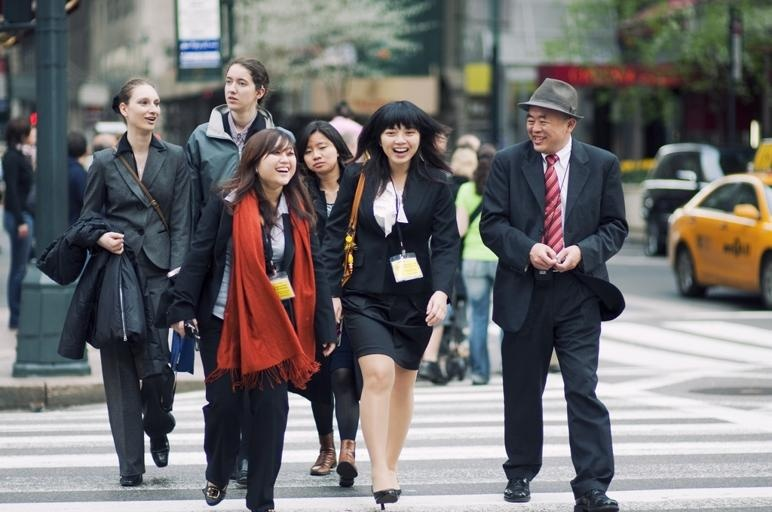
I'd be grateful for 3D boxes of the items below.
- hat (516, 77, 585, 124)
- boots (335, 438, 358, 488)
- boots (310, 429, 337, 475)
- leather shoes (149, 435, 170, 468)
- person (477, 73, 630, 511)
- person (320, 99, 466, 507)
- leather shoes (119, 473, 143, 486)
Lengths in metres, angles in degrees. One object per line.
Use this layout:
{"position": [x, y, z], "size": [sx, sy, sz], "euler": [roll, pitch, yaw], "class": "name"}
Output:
{"position": [1.734, -1.585, 15.842], "size": [0.524, 0.211, 0.444], "euler": [25, 1, 20], "class": "hat"}
{"position": [-0.379, 2.066, 16.271], "size": [0.152, 0.303, 0.357], "euler": [17, -32, -13], "class": "boots"}
{"position": [-0.661, 2.140, 16.641], "size": [0.171, 0.403, 0.494], "euler": [-2, 7, 21], "class": "boots"}
{"position": [-2.398, 2.091, 16.495], "size": [0.141, 0.436, 0.190], "euler": [-9, 22, -2], "class": "leather shoes"}
{"position": [1.734, 0.379, 15.795], "size": [1.406, 4.366, 0.808], "euler": [0, 4, 8], "class": "person"}
{"position": [0.080, 0.467, 16.021], "size": [1.229, 4.115, 1.000], "euler": [-4, 5, -34], "class": "person"}
{"position": [-2.666, 2.363, 16.235], "size": [0.260, 0.114, 0.100], "euler": [8, -2, -9], "class": "leather shoes"}
